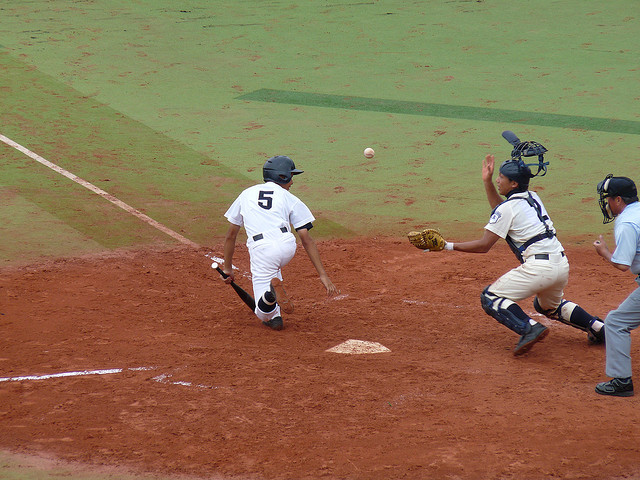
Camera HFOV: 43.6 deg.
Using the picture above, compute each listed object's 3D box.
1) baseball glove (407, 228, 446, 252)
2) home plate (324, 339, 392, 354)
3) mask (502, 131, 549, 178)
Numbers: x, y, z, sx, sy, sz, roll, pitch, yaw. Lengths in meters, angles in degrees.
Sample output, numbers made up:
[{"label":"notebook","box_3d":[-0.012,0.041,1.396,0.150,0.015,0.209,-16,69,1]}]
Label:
[{"label":"baseball glove","box_3d":[1.214,0.006,9.187,0.406,0.305,0.341,1,20,2]},{"label":"home plate","box_3d":[0.449,1.231,9.230,0.725,0.056,0.354,1,13,4]},{"label":"mask","box_3d":[2.329,-0.968,9.240,0.471,0.549,0.703,3,19,9]}]
